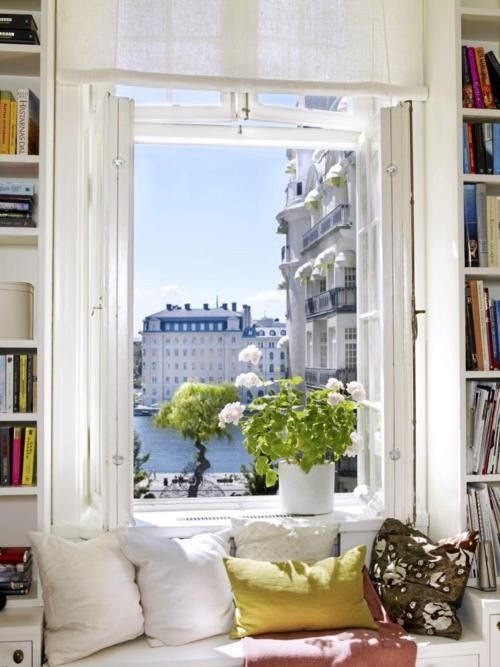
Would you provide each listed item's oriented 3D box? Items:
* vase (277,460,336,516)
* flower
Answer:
[{"bbox_3d":[0.195,0.527,3.060,0.162,0.143,0.177,0,-8,-1],"label":"vase"},{"bbox_3d":[0.117,0.286,3.192,0.456,0.594,0.507,-2,-1,-6],"label":"flower"}]
